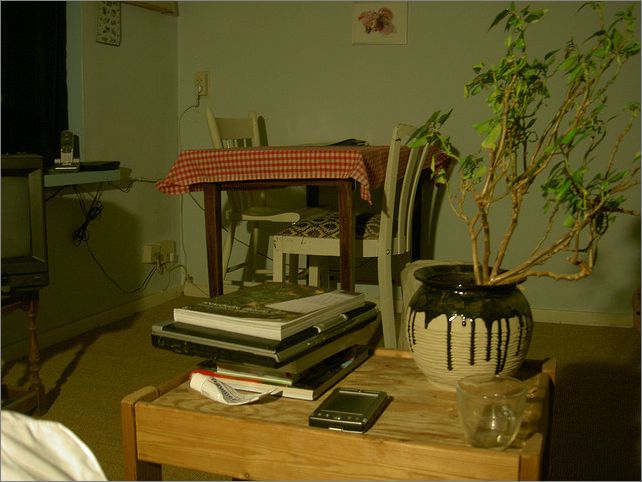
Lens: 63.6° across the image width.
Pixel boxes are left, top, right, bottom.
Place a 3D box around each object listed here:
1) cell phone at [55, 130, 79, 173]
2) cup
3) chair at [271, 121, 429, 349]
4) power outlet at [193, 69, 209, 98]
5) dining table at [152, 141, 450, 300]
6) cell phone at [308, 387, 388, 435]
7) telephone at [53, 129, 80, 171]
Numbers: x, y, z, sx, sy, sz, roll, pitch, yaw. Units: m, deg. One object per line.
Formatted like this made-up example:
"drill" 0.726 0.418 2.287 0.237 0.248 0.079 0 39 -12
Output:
"cell phone" -1.248 -0.448 2.531 0.118 0.187 0.153 -1 20 -25
"cup" 0.256 0.262 0.781 0.098 0.095 0.081 1 14 11
"chair" 0.128 -0.029 2.605 0.756 0.985 0.708 5 10 34
"power outlet" -0.783 -1.048 3.401 0.098 0.166 0.041 -2 14 -2
"dining table" -0.217 -0.108 2.581 1.129 0.669 1.116 -1 6 14
"cell phone" 0.049 0.266 0.848 0.101 0.126 0.023 14 37 -8
"telephone" -1.250 -0.447 2.534 0.122 0.185 0.153 -1 19 -21
